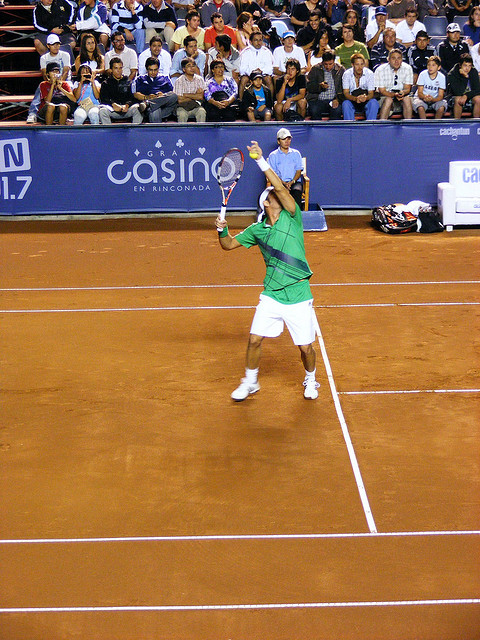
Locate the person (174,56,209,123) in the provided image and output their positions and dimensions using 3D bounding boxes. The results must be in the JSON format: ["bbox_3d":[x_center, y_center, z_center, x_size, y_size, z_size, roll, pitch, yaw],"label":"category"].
[{"bbox_3d":[-0.980,-4.577,17.133,0.655,1.276,0.757,-1,8,-4],"label":"person"}]

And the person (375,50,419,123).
[{"bbox_3d":[3.162,-4.766,17.522,0.680,1.396,1.197,7,11,39],"label":"person"}]

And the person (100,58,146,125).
[{"bbox_3d":[-2.372,-4.443,17.093,0.891,1.480,0.949,6,20,16],"label":"person"}]

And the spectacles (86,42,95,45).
[{"bbox_3d":[-3.085,-5.727,17.775,0.141,0.042,0.060,-2,8,-10],"label":"spectacles"}]

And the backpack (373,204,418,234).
[{"bbox_3d":[2.796,-1.821,15.532,0.750,0.496,0.617,1,8,9],"label":"backpack"}]

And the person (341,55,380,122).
[{"bbox_3d":[2.416,-4.686,17.328,0.767,1.283,0.560,1,8,6],"label":"person"}]

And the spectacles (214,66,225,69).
[{"bbox_3d":[-0.413,-5.022,17.059,0.195,0.059,0.106,-3,9,-21],"label":"spectacles"}]

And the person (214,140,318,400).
[{"bbox_3d":[0.257,-0.344,7.592,0.816,2.133,0.732,2,9,17],"label":"person"}]

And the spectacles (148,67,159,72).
[{"bbox_3d":[-1.720,-4.972,17.068,0.102,0.061,0.103,5,7,31],"label":"spectacles"}]

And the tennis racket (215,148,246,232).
[{"bbox_3d":[-0.189,-1.498,9.931,0.322,1.352,0.105,-19,57,-18],"label":"tennis racket"}]

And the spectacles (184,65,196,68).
[{"bbox_3d":[-0.998,-5.069,17.145,0.202,0.059,0.101,-4,9,-25],"label":"spectacles"}]

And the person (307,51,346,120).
[{"bbox_3d":[1.731,-4.752,17.510,0.748,1.327,0.441,1,8,6],"label":"person"}]

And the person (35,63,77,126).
[{"bbox_3d":[-3.707,-4.461,17.659,0.683,1.763,0.944,-1,1,-20],"label":"person"}]

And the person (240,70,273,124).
[{"bbox_3d":[0.367,-4.550,17.418,0.613,1.039,0.790,4,9,24],"label":"person"}]
